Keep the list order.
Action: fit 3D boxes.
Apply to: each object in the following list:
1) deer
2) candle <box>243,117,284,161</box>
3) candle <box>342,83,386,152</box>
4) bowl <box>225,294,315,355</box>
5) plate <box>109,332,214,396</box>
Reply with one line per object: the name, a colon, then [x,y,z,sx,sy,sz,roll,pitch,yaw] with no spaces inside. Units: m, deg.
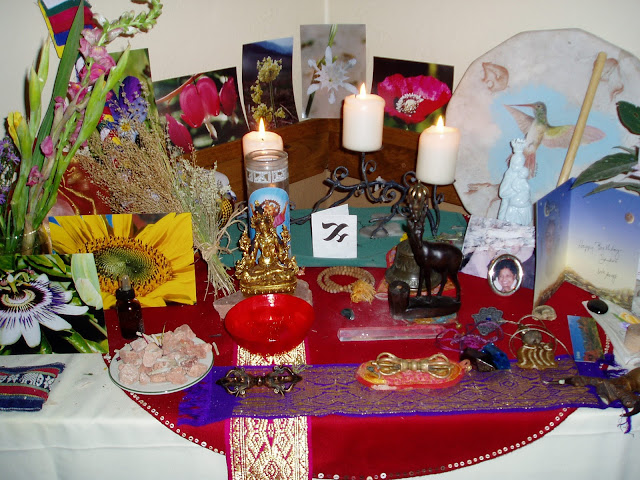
deer: [0.284,0.053,1.284,0.147,0.208,0.082,3,21,6]
candle: [-0.130,-0.272,1.443,0.129,0.136,0.123,2,29,3]
candle: [0.128,-0.366,1.531,0.126,0.181,0.126,-10,27,-23]
bowl: [-0.116,0.197,1.193,0.203,0.085,0.180,-3,20,-10]
plate: [-0.349,0.264,1.133,0.220,0.083,0.137,-5,21,-17]
